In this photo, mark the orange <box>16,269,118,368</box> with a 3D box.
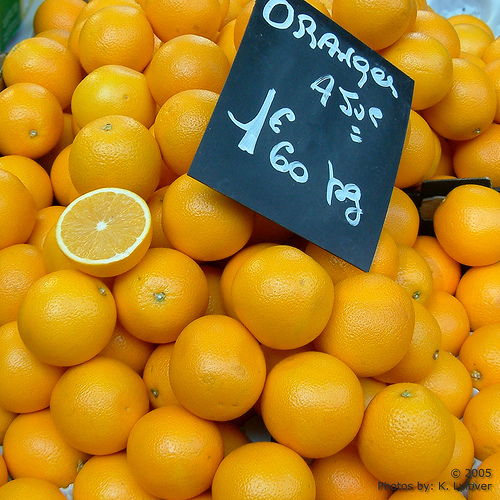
[{"bbox_3d":[-0.400,0.146,1.186,0.173,0.188,0.241,1,99,2],"label":"orange"}]

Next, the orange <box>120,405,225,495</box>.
[{"bbox_3d":[-0.151,0.450,1.121,0.179,0.167,0.179,-8,55,4],"label":"orange"}]

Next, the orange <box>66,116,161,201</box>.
[{"bbox_3d":[-0.302,-0.209,1.256,0.174,0.197,0.201,2,35,-7],"label":"orange"}]

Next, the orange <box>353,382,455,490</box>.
[{"bbox_3d":[0.312,0.367,1.098,0.177,0.127,0.201,26,81,4],"label":"orange"}]

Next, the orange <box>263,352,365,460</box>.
[{"bbox_3d":[0.127,0.302,1.090,0.198,0.087,0.199,-8,80,-2],"label":"orange"}]

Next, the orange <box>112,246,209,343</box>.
[{"bbox_3d":[-0.189,0.087,1.271,0.173,0.180,0.205,24,97,-3],"label":"orange"}]

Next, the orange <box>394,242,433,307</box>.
[{"bbox_3d":[0.407,0.066,1.383,0.095,0.089,0.114,-46,61,22],"label":"orange"}]

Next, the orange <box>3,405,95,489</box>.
[{"bbox_3d":[-0.427,0.401,1.233,0.149,0.165,0.213,-3,85,4],"label":"orange"}]

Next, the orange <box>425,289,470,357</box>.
[{"bbox_3d":[0.523,0.181,1.443,0.130,0.139,0.185,3,92,-1],"label":"orange"}]

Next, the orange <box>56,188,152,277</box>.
[{"bbox_3d":[-0.313,-0.044,1.181,0.200,0.081,0.198,-12,80,-3],"label":"orange"}]

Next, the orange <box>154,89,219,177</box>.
[{"bbox_3d":[-0.210,-0.289,1.401,0.152,0.163,0.203,-6,111,-19],"label":"orange"}]

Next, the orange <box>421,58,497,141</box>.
[{"bbox_3d":[0.654,-0.441,1.675,0.195,0.212,0.274,-1,103,7],"label":"orange"}]

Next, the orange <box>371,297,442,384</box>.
[{"bbox_3d":[0.390,0.229,1.366,0.165,0.211,0.187,-10,41,31],"label":"orange"}]

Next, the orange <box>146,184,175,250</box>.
[{"bbox_3d":[-0.227,-0.078,1.351,0.105,0.138,0.128,-3,86,-9],"label":"orange"}]

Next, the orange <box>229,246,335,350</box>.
[{"bbox_3d":[0.068,0.090,1.130,0.213,0.080,0.199,41,82,6],"label":"orange"}]

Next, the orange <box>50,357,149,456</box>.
[{"bbox_3d":[-0.306,0.312,1.203,0.178,0.189,0.198,-31,47,26],"label":"orange"}]

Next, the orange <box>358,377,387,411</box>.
[{"bbox_3d":[0.272,0.313,1.230,0.051,0.057,0.074,0,95,2],"label":"orange"}]

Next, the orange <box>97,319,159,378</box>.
[{"bbox_3d":[-0.274,0.221,1.247,0.106,0.120,0.147,6,112,-4],"label":"orange"}]

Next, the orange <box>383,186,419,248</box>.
[{"bbox_3d":[0.408,-0.082,1.500,0.113,0.123,0.166,5,75,-5],"label":"orange"}]

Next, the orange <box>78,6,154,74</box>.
[{"bbox_3d":[-0.398,-0.606,1.680,0.173,0.222,0.201,-9,65,-16],"label":"orange"}]

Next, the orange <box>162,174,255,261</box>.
[{"bbox_3d":[-0.158,-0.082,1.304,0.154,0.162,0.181,-9,78,39],"label":"orange"}]

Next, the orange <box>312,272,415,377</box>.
[{"bbox_3d":[0.210,0.151,1.232,0.138,0.148,0.193,19,71,-8],"label":"orange"}]
